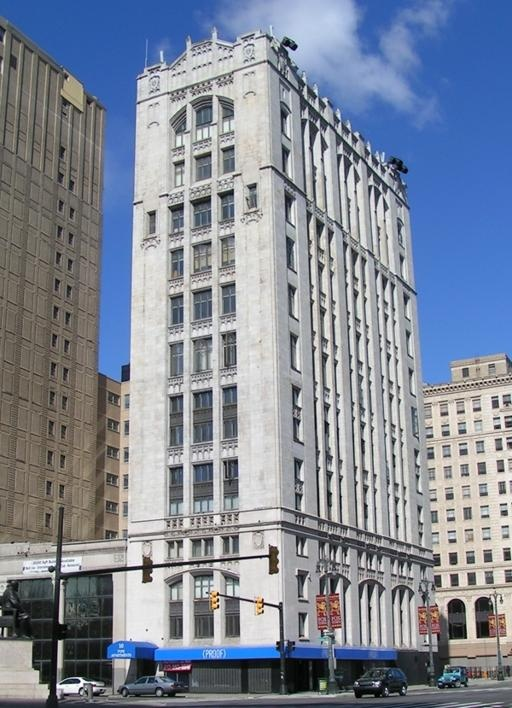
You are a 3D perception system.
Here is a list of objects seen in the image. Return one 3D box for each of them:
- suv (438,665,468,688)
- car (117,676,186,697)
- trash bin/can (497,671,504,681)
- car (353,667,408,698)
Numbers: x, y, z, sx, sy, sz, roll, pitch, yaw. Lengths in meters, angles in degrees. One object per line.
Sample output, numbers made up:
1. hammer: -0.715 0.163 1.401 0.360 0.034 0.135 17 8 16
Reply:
1. suv: 14.027 23.118 66.109 1.380 1.247 2.498 -14 -30 25
2. car: -6.369 20.108 55.958 3.341 1.091 1.606 -13 -22 32
3. trash bin/can: 22.454 29.708 85.786 0.449 0.896 3.368 -6 -19 17
4. car: 6.873 18.222 51.522 1.591 1.359 3.059 -13 -30 27
